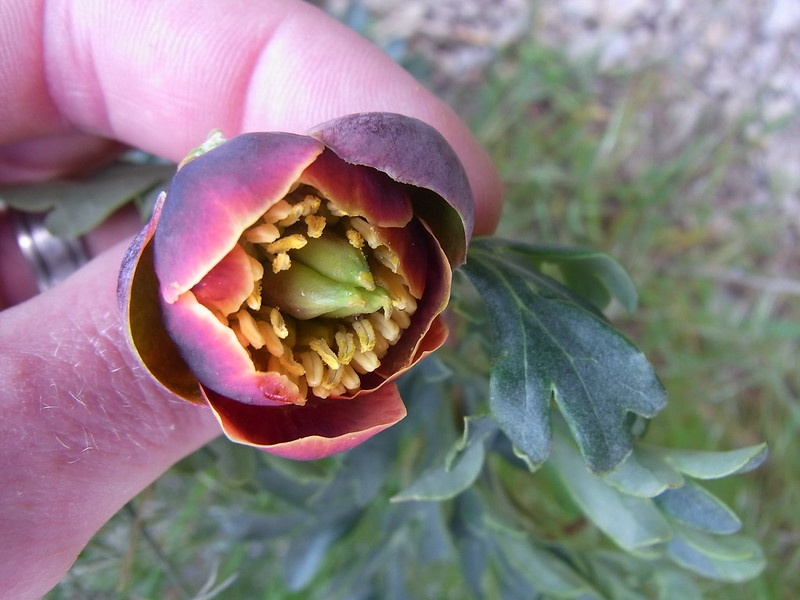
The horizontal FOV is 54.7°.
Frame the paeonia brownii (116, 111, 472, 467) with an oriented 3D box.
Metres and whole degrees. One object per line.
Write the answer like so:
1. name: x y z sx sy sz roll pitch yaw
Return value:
1. paeonia brownii: -0.158 -0.057 1.098 0.387 0.263 0.466 43 92 -15
